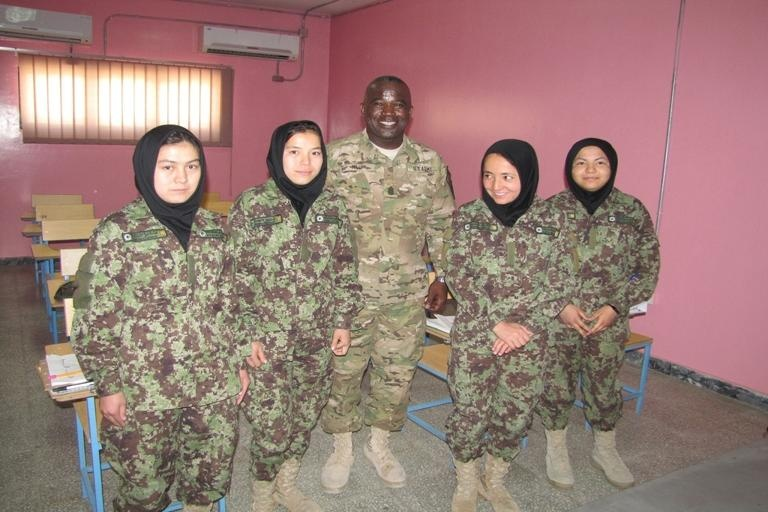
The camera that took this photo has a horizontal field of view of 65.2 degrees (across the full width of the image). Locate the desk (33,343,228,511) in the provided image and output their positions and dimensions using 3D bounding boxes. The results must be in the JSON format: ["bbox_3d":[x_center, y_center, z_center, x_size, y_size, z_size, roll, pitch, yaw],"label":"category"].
[{"bbox_3d":[-1.514,1.089,4.009,1.227,1.043,1.156,-1,2,-5],"label":"desk"}]

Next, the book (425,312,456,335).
[{"bbox_3d":[0.415,0.476,4.294,0.151,0.052,0.149,4,7,-43],"label":"book"}]

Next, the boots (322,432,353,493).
[{"bbox_3d":[-0.241,1.362,3.973,0.169,0.236,0.433,9,10,7],"label":"boots"}]

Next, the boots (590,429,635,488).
[{"bbox_3d":[1.568,1.364,4.108,0.187,0.313,0.362,-14,23,-19],"label":"boots"}]

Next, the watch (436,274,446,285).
[{"bbox_3d":[0.371,0.155,3.892,0.064,0.040,0.062,3,23,7],"label":"watch"}]
